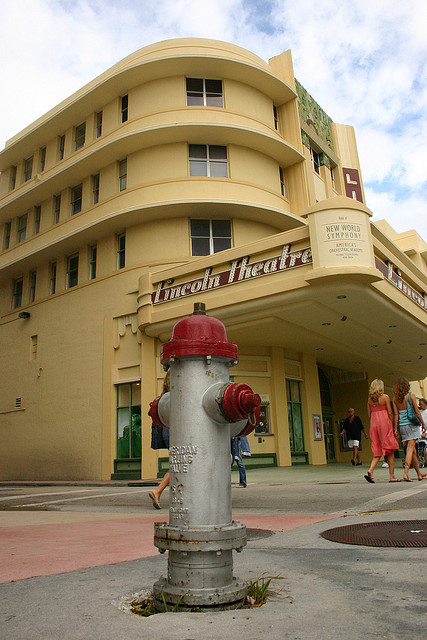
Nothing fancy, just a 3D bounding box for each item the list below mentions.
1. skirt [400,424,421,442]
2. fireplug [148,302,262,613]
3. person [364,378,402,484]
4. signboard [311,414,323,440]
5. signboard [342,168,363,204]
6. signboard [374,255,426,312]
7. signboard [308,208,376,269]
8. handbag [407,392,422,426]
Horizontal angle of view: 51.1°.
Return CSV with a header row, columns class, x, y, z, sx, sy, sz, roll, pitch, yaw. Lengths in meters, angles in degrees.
class,x,y,z,sx,sy,sz,roll,pitch,yaw
skirt,3.939,2.259,8.983,0.178,0.297,0.289,21,-32,-22
fireplug,-0.038,0.521,2.043,0.489,1.350,0.370,-2,-15,-4
person,3.354,2.277,9.125,0.910,1.976,0.621,5,-11,-21
signboard,4.766,4.985,20.753,0.055,1.393,1.153,-5,-9,31
signboard,8.904,-8.739,28.699,1.702,2.274,0.293,8,-18,-37
signboard,7.110,-1.339,17.114,0.194,0.984,3.985,-20,-47,34
signboard,3.970,-2.514,13.877,2.228,2.188,0.823,-2,-6,-11
handbag,4.016,1.792,8.963,0.244,0.638,0.267,-4,-15,5
